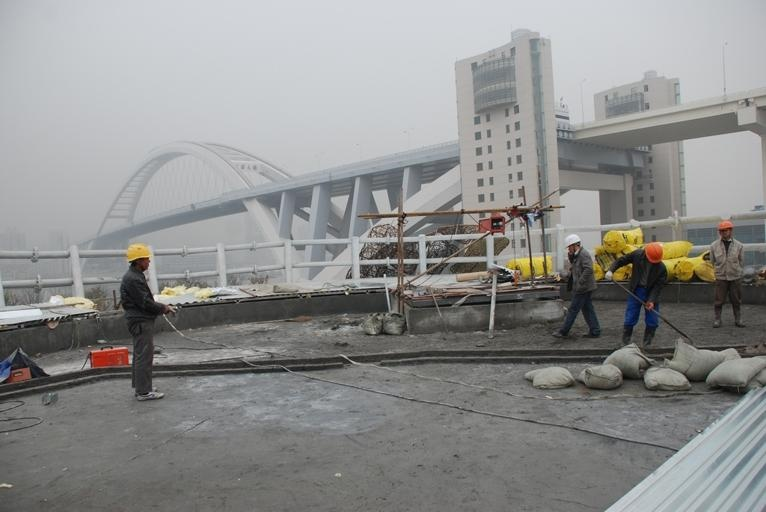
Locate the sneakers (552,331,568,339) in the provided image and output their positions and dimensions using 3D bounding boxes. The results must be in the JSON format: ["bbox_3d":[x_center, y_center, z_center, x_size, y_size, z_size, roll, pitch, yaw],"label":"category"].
[{"bbox_3d":[3.368,1.463,11.404,0.271,0.152,0.226,2,11,27],"label":"sneakers"}]

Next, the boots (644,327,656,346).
[{"bbox_3d":[4.473,1.328,10.093,0.167,0.342,0.235,1,11,20],"label":"boots"}]

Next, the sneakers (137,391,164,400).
[{"bbox_3d":[-3.398,2.031,8.812,0.392,0.156,0.133,-1,2,-15],"label":"sneakers"}]

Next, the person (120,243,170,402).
[{"bbox_3d":[-3.535,0.946,8.908,0.592,2.248,0.761,-7,11,-23],"label":"person"}]

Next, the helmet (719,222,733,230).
[{"bbox_3d":[6.763,-0.605,11.884,0.174,0.089,0.206,-2,-1,3],"label":"helmet"}]

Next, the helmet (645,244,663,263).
[{"bbox_3d":[4.565,-0.063,10.092,0.258,0.322,0.182,-20,-29,6],"label":"helmet"}]

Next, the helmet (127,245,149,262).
[{"bbox_3d":[-3.617,-0.038,8.856,0.280,0.157,0.209,-10,12,-22],"label":"helmet"}]

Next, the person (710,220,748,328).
[{"bbox_3d":[6.760,0.352,11.773,0.617,2.021,1.226,3,12,29],"label":"person"}]

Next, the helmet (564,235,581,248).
[{"bbox_3d":[3.580,-0.288,11.496,0.327,0.171,0.260,1,7,37],"label":"helmet"}]

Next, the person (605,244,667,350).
[{"bbox_3d":[4.450,0.671,10.377,0.718,1.815,0.996,-4,10,-5],"label":"person"}]

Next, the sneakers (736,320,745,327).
[{"bbox_3d":[6.787,1.287,11.391,0.089,0.065,0.161,-3,-4,3],"label":"sneakers"}]
